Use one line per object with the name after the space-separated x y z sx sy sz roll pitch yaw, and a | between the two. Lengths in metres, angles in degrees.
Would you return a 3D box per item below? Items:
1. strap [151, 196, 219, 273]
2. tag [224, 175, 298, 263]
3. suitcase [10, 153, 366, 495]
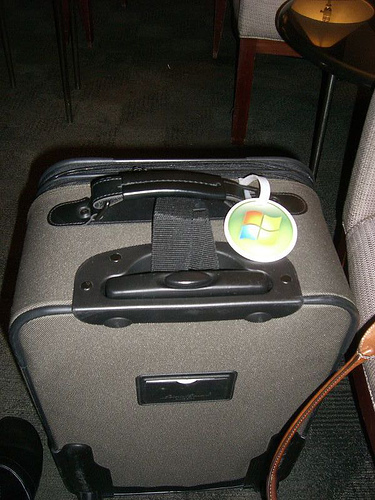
-0.005 -0.007 0.505 0.073 0.023 0.092 -1 72 -3 | strap
0.100 -0.021 0.539 0.091 0.039 0.119 1 39 10 | tag
-0.011 0.134 0.675 0.406 0.552 0.302 -3 43 -7 | suitcase
